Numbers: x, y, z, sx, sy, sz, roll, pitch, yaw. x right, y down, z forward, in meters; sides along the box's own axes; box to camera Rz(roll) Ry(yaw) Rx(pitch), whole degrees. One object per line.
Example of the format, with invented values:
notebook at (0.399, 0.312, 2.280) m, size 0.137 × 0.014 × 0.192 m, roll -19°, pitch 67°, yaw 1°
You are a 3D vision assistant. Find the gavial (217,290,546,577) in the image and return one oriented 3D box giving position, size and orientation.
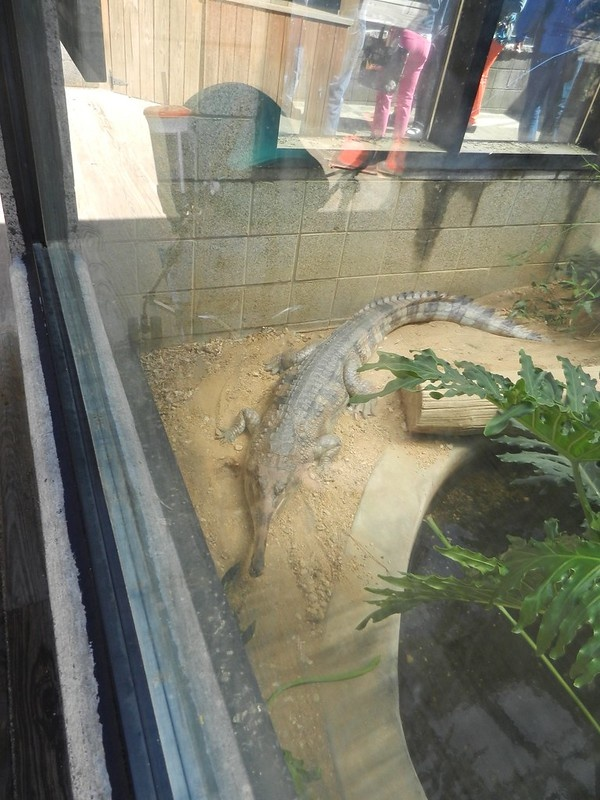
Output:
gavial at (0.124, 0.044, 0.911) m, size 0.287 × 0.085 × 0.491 m, roll 23°, pitch 48°, yaw 29°
